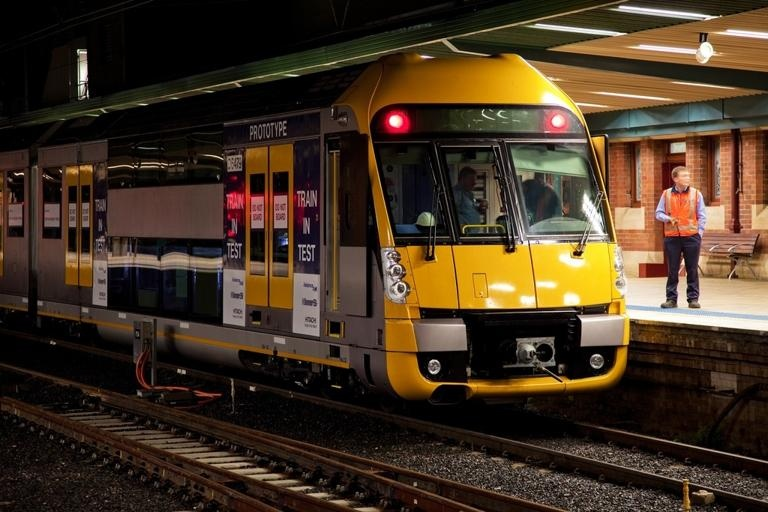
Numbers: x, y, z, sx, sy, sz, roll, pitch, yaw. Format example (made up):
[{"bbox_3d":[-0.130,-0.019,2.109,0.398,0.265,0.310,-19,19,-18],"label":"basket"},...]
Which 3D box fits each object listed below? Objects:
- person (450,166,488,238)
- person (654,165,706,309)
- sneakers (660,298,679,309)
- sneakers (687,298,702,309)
[{"bbox_3d":[1.119,-0.735,9.940,0.443,0.871,0.239,0,4,-1],"label":"person"},{"bbox_3d":[5.543,-0.333,14.303,0.791,2.670,0.957,1,5,21],"label":"person"},{"bbox_3d":[5.401,0.930,14.456,0.324,0.151,0.144,2,-3,-19],"label":"sneakers"},{"bbox_3d":[5.756,0.901,14.171,0.116,0.146,0.317,-1,-7,-4],"label":"sneakers"}]
